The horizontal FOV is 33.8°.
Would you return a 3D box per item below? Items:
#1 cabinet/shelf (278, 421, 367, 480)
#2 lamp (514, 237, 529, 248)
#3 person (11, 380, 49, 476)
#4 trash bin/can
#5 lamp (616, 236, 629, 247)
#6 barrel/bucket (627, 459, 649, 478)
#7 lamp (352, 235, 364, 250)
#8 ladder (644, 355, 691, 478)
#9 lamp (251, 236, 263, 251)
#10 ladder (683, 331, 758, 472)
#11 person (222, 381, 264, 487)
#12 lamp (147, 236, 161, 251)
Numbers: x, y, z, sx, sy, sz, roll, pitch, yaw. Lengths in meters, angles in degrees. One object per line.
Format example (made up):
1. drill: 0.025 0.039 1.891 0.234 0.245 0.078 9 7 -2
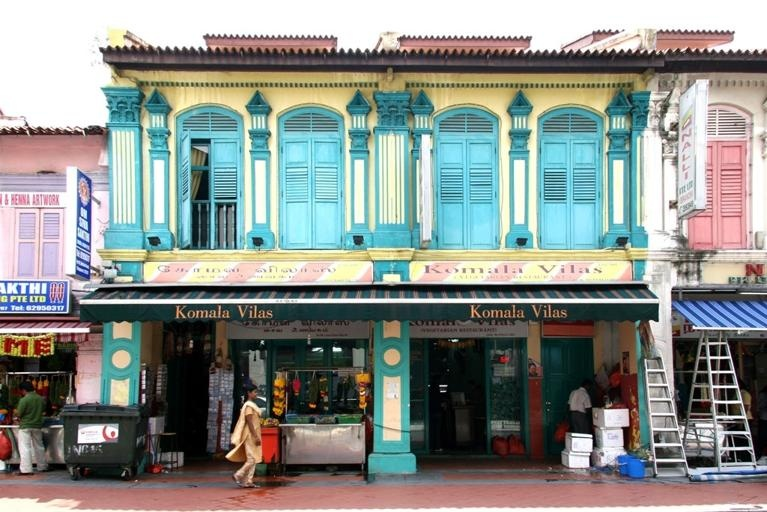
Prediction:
1. cabinet/shelf: -1.499 4.802 31.761 2.075 1.153 0.391 -2 -8 3
2. lamp: 3.512 -0.344 32.181 0.310 0.245 0.164 -2 -8 1
3. person: -8.750 4.299 31.559 0.802 2.314 0.532 4 -10 -36
4. trash bin/can: -6.896 4.637 31.586 1.629 1.851 1.692 0 -5 1
5. lamp: 6.047 -0.356 32.094 0.315 0.274 0.078 4 10 0
6. barrel/bucket: 6.204 5.257 31.122 0.502 0.467 0.472 0 -11 0
7. lamp: -0.624 -0.337 32.060 0.440 0.368 0.104 3 0 5
8. ladder: 6.996 3.957 31.617 0.325 3.155 0.826 -4 -6 -44
9. lamp: -3.147 -0.326 32.009 0.384 0.316 0.335 0 -18 -5
10. ladder: 8.376 3.518 32.047 1.645 3.988 1.428 4 -8 -40
11. person: -3.319 4.347 30.994 1.217 2.306 0.926 1 0 4
12. lamp: -5.768 -0.334 31.962 0.319 0.341 0.139 -2 -8 4
